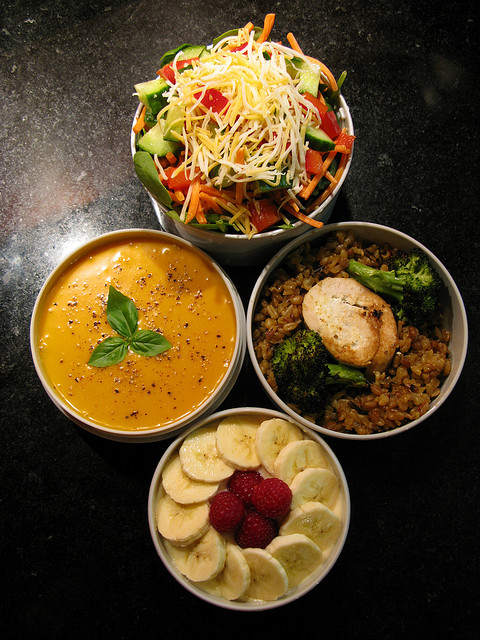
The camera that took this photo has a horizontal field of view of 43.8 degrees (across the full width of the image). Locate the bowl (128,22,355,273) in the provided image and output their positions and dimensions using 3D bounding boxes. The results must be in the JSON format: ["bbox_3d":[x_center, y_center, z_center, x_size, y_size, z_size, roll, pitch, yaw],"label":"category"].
[{"bbox_3d":[0.027,-0.567,2.324,0.809,0.851,0.679,-16,60,-6],"label":"bowl"}]

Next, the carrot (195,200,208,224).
[{"bbox_3d":[-0.140,-0.384,2.118,0.023,0.026,0.091,0,98,10],"label":"carrot"}]

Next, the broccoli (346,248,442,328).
[{"bbox_3d":[0.617,-0.148,2.332,0.229,0.235,0.354,-39,65,-18],"label":"broccoli"}]

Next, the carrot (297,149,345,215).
[{"bbox_3d":[0.295,-0.515,2.209,0.153,0.058,0.246,40,90,-22],"label":"carrot"}]

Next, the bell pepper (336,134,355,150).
[{"bbox_3d":[0.383,-0.647,2.169,0.054,0.037,0.083,17,61,13],"label":"bell pepper"}]

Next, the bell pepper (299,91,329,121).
[{"bbox_3d":[0.261,-0.743,2.110,0.092,0.091,0.127,9,60,9],"label":"bell pepper"}]

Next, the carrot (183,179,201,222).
[{"bbox_3d":[-0.155,-0.416,2.101,0.042,0.047,0.168,15,105,20],"label":"carrot"}]

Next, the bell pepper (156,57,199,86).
[{"bbox_3d":[-0.218,-0.898,2.116,0.155,0.088,0.100,-7,59,-1],"label":"bell pepper"}]

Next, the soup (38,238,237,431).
[{"bbox_3d":[-0.393,0.045,2.284,0.753,0.285,0.692,-8,59,-2],"label":"soup"}]

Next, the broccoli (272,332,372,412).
[{"bbox_3d":[0.340,0.208,2.256,0.376,0.198,0.267,15,103,1],"label":"broccoli"}]

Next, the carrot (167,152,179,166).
[{"bbox_3d":[-0.241,-0.577,2.129,0.035,0.058,0.030,-42,79,2],"label":"carrot"}]

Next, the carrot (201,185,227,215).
[{"bbox_3d":[-0.090,-0.431,2.111,0.092,0.089,0.045,17,63,13],"label":"carrot"}]

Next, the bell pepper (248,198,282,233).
[{"bbox_3d":[0.084,-0.386,2.157,0.112,0.071,0.088,-36,64,-17],"label":"bell pepper"}]

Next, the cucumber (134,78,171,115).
[{"bbox_3d":[-0.302,-0.803,2.155,0.115,0.101,0.128,-28,62,-13],"label":"cucumber"}]

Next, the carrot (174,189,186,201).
[{"bbox_3d":[-0.212,-0.446,2.121,0.026,0.017,0.041,-14,60,-5],"label":"carrot"}]

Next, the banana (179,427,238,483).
[{"bbox_3d":[-0.136,0.518,2.246,0.205,0.040,0.188,28,58,0],"label":"banana"}]

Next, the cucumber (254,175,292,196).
[{"bbox_3d":[0.119,-0.470,2.090,0.135,0.064,0.044,-15,60,-7],"label":"cucumber"}]

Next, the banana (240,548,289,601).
[{"bbox_3d":[0.094,0.932,2.160,0.219,0.196,0.050,8,31,30],"label":"banana"}]

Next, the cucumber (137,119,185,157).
[{"bbox_3d":[-0.274,-0.662,2.139,0.143,0.122,0.129,-29,34,-36],"label":"cucumber"}]

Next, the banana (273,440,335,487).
[{"bbox_3d":[0.242,0.524,2.232,0.183,0.046,0.182,21,83,-21],"label":"banana"}]

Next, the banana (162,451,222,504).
[{"bbox_3d":[-0.183,0.593,2.245,0.179,0.045,0.192,-44,74,-6],"label":"banana"}]

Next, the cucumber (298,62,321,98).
[{"bbox_3d":[0.251,-0.855,2.129,0.079,0.037,0.131,5,94,10],"label":"cucumber"}]

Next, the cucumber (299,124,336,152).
[{"bbox_3d":[0.276,-0.654,2.099,0.127,0.122,0.085,4,60,5],"label":"cucumber"}]

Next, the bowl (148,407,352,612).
[{"bbox_3d":[0.056,0.707,2.345,0.224,0.898,0.823,-19,99,12],"label":"bowl"}]

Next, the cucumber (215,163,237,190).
[{"bbox_3d":[-0.053,-0.497,2.081,0.077,0.101,0.070,-15,60,-5],"label":"cucumber"}]
